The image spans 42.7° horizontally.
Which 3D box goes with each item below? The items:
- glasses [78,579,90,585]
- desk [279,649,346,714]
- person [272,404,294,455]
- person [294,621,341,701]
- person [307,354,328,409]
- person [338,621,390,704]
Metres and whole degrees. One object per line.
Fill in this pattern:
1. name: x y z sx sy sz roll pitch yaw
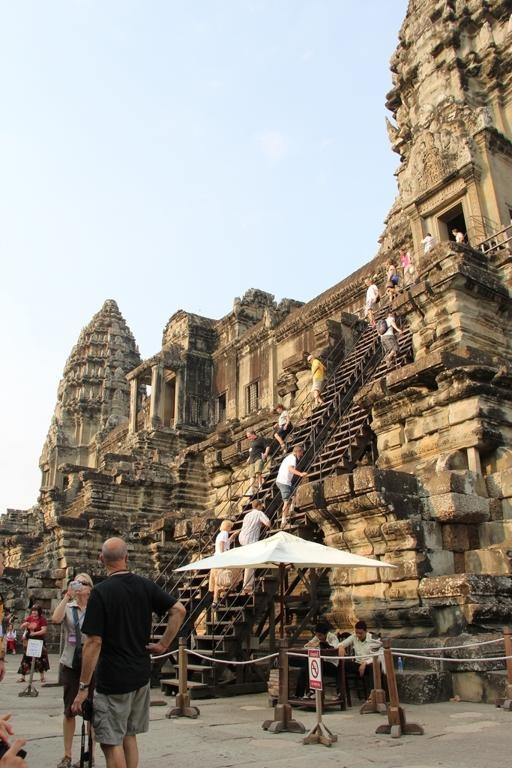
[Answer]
1. glasses: -1.445 1.694 5.557 0.064 0.021 0.065 13 -31 -42
2. desk: 0.656 3.264 7.249 0.452 0.689 0.821 10 -26 -13
3. person: 0.620 1.051 14.717 0.368 1.042 0.370 16 -61 -6
4. person: 0.727 3.217 7.606 0.525 0.889 0.376 6 -9 -39
5. person: 1.436 -0.043 15.166 0.459 1.272 0.466 3 -60 3
6. person: 1.110 2.934 6.935 0.392 0.713 0.434 -19 -31 37
